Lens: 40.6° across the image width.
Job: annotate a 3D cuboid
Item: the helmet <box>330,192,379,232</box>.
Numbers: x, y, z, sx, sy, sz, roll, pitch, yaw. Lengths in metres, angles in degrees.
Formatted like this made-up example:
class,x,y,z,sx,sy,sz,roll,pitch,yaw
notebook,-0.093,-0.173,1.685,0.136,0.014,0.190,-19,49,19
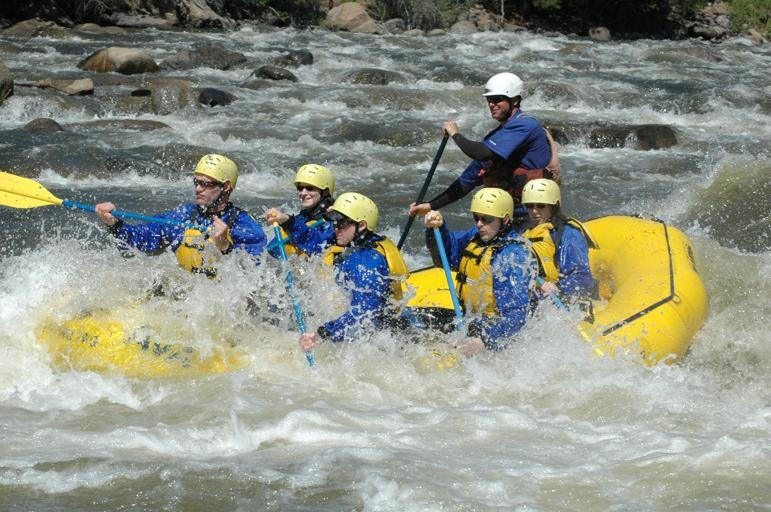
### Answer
class,x,y,z,sx,sy,sz,roll,pitch,yaw
helmet,-0.371,-0.521,12.131,0.588,0.373,0.406,0,6,-14

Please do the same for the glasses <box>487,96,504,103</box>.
class,x,y,z,sx,sy,sz,roll,pitch,yaw
glasses,1.355,-1.964,12.987,0.122,0.104,0.038,-2,9,26

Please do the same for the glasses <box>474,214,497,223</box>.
class,x,y,z,sx,sy,sz,roll,pitch,yaw
glasses,1.135,-0.444,12.218,0.279,0.104,0.104,15,21,27

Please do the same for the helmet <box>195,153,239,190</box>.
class,x,y,z,sx,sy,sz,roll,pitch,yaw
helmet,-2.060,-1.033,12.659,0.516,0.340,0.403,-11,21,-37

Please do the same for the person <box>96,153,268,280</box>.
class,x,y,z,sx,sy,sz,roll,pitch,yaw
person,-2.773,-0.485,13.723,1.670,1.759,0.909,20,17,21

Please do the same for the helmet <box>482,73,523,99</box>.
class,x,y,z,sx,sy,sz,roll,pitch,yaw
helmet,1.468,-2.146,13.039,0.450,0.292,0.318,3,19,-6

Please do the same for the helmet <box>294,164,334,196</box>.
class,x,y,z,sx,sy,sz,roll,pitch,yaw
helmet,-0.907,-0.975,12.880,0.368,0.315,0.452,12,32,42

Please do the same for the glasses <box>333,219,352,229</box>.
class,x,y,z,sx,sy,sz,roll,pitch,yaw
glasses,-0.514,-0.371,12.081,0.136,0.142,0.075,-5,42,5

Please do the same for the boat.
class,x,y,z,sx,sy,sz,roll,pitch,yaw
boat,0.328,0.714,12.343,6.105,1.035,2.875,-3,27,-12
